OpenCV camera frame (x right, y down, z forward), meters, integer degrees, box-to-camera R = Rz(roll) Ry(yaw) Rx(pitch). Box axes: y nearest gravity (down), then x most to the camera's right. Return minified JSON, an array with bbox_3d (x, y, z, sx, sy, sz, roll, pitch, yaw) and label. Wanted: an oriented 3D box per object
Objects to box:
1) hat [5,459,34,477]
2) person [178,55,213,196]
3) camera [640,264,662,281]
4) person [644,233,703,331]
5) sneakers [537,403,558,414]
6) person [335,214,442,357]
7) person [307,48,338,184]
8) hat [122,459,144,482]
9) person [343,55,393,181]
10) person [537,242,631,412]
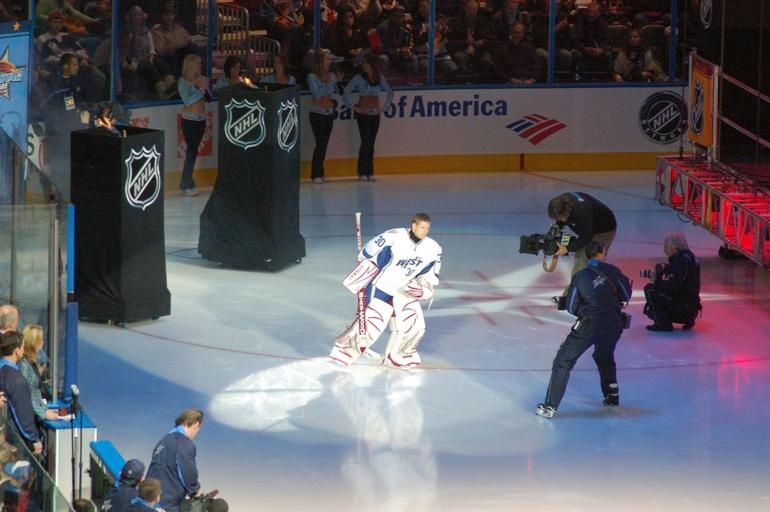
[{"bbox_3d":[-3.077,1.787,9.307,0.225,0.128,0.056,3,7,12],"label":"hat"},{"bbox_3d":[-3.444,-2.361,19.888,0.652,2.478,0.459,-2,9,-29],"label":"person"},{"bbox_3d":[3.444,0.215,14.237,0.291,0.237,0.266,3,5,7],"label":"camera"},{"bbox_3d":[3.673,0.330,14.119,0.748,1.226,0.372,4,8,14],"label":"person"},{"bbox_3d":[1.730,1.654,11.920,0.088,0.104,0.248,-3,15,-36],"label":"sneakers"},{"bbox_3d":[0.056,0.389,12.815,1.133,1.805,0.343,2,8,-3],"label":"person"},{"bbox_3d":[-1.216,-2.613,20.952,0.481,2.458,0.623,3,8,2],"label":"person"},{"bbox_3d":[-2.188,1.877,9.645,0.146,0.108,0.208,6,22,1],"label":"hat"},{"bbox_3d":[-0.340,-2.658,21.427,0.922,2.385,0.839,2,7,0],"label":"person"},{"bbox_3d":[2.147,0.802,11.789,0.876,1.899,0.359,0,8,-16],"label":"person"}]
